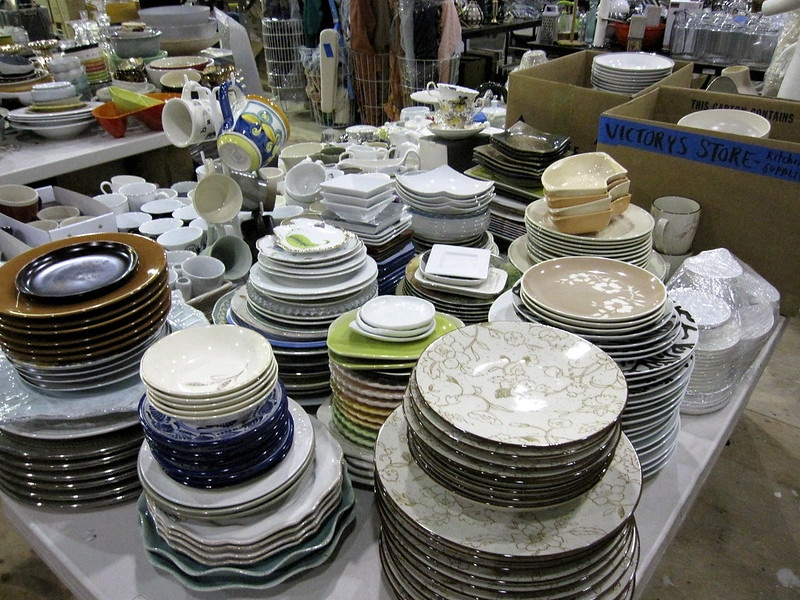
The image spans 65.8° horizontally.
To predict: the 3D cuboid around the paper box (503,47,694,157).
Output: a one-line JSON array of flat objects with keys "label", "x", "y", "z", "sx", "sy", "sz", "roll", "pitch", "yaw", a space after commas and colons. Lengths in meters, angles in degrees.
[{"label": "paper box", "x": 0.655, "y": -0.753, "z": 2.465, "sx": 0.394, "sy": 0.239, "sz": 0.417, "roll": 18, "pitch": 22, "yaw": 14}]
